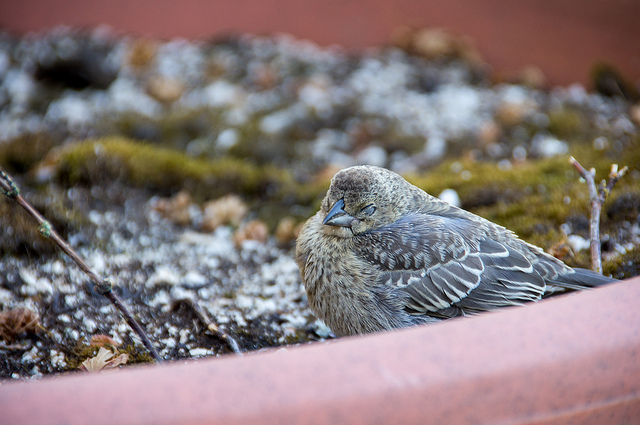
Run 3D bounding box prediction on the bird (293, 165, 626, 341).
[{"bbox_3d":[0.536,0.126,3.062,1.144,0.606,0.573,-3,10,14],"label":"bird"}]
